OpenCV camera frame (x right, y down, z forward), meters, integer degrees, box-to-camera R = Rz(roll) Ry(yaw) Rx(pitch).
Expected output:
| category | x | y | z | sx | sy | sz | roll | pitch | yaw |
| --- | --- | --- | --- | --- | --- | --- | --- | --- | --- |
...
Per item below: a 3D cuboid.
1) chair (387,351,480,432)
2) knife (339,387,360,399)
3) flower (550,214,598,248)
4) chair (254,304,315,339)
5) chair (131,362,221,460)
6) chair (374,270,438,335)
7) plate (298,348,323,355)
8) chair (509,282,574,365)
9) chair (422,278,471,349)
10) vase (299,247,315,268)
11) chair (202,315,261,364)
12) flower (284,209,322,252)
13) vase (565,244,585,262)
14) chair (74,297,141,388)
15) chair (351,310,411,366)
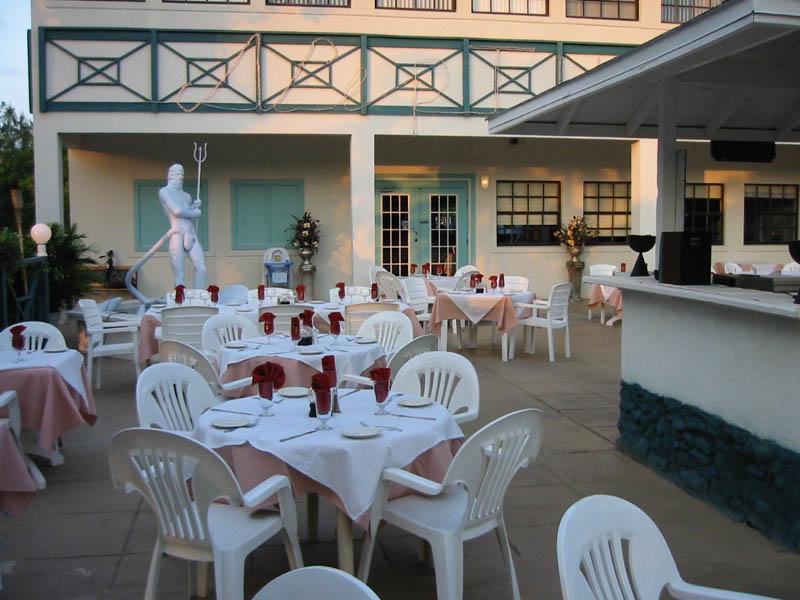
| category | x | y | z | sx | sy | sz | roll | pitch | yaw |
| --- | --- | --- | --- | --- | --- | --- | --- | --- | --- |
| chair | 0.294 | 0.571 | 5.243 | 0.538 | 0.888 | 0.585 | 0 | -2 | 25 |
| knife | -0.337 | 0.587 | 4.763 | 0.106 | 0.090 | 0.073 | 4 | -5 | -20 |
| flower | 3.363 | -1.248 | 14.288 | 0.569 | 0.659 | 0.653 | 1 | 1 | 7 |
| chair | -1.085 | 0.178 | 7.004 | 0.298 | 0.289 | 0.331 | 0 | 2 | -18 |
| chair | -1.491 | 0.663 | 4.815 | 0.432 | 0.710 | 0.447 | 8 | 10 | 44 |
| chair | -0.008 | 0.078 | 10.175 | 0.509 | 1.078 | 0.670 | 14 | 20 | 43 |
| plate | -0.688 | 0.393 | 5.720 | 0.182 | 0.051 | 0.176 | -3 | 7 | -24 |
| chair | 1.847 | 0.250 | 9.452 | 0.594 | 1.010 | 0.692 | 2 | 9 | 14 |
| chair | 0.651 | 0.254 | 9.403 | 0.534 | 0.552 | 0.593 | 2 | 0 | -23 |
| vase | -1.712 | -0.756 | 13.630 | 0.270 | 0.409 | 0.309 | 0 | 3 | -7 |
| chair | -1.544 | 0.291 | 6.656 | 0.399 | 0.624 | 0.400 | -4 | 9 | -34 |
| flower | -1.792 | -1.221 | 13.753 | 0.583 | 0.786 | 0.682 | -3 | 1 | -1 |
| vase | 3.350 | -0.896 | 14.209 | 0.276 | 0.264 | 0.301 | 3 | 8 | 29 |
| chair | -3.119 | 0.484 | 8.111 | 0.585 | 1.002 | 0.600 | -3 | 5 | -6 |
| chair | -0.113 | 0.344 | 6.632 | 0.360 | 0.621 | 0.414 | 0 | -3 | 15 |
